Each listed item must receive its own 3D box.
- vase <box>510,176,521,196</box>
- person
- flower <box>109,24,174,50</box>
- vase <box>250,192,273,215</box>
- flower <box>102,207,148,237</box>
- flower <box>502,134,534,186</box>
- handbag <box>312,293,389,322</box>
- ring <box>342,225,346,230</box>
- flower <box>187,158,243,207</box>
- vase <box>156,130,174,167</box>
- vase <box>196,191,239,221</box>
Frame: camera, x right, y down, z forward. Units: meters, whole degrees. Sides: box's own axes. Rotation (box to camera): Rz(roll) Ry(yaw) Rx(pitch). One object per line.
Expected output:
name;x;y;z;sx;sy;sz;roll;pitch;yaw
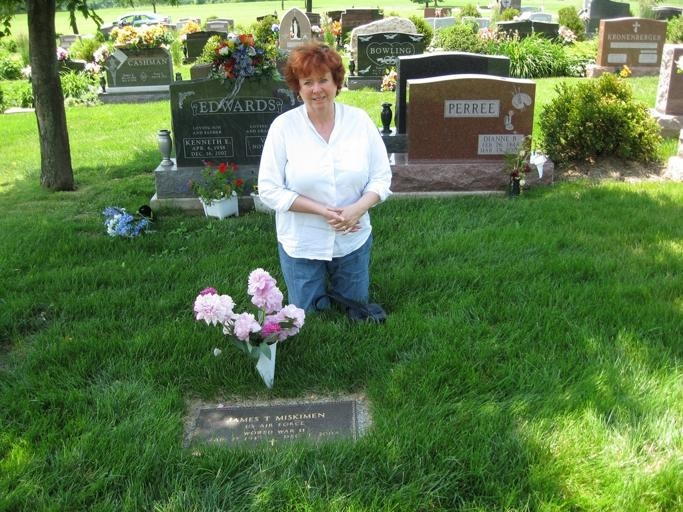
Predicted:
vase;2.261;-0.907;7.585;0.130;0.245;0.090;-1;18;2
person;-0.107;-0.421;4.665;1.030;2.376;0.933;-10;29;-15
flower;-5.780;-6.289;16.933;1.277;0.653;2.067;-4;19;-7
vase;-1.045;-0.682;7.532;0.333;0.290;0.340;0;27;-6
flower;-2.407;-0.374;6.502;0.380;0.212;0.392;-13;30;-24
flower;2.375;-1.240;7.725;0.428;0.631;0.472;-2;18;-3
handbag;0.047;0.388;4.809;0.711;0.345;0.231;1;-1;11
ring;0.018;-0.205;4.341;0.030;0.046;0.021;-2;18;0
flower;-1.594;-0.921;7.558;0.537;0.725;0.645;12;29;21
vase;-2.402;-1.452;7.907;0.197;0.488;0.563;-7;19;-16
vase;-1.509;-0.601;7.402;0.498;0.316;0.442;-10;20;-23
